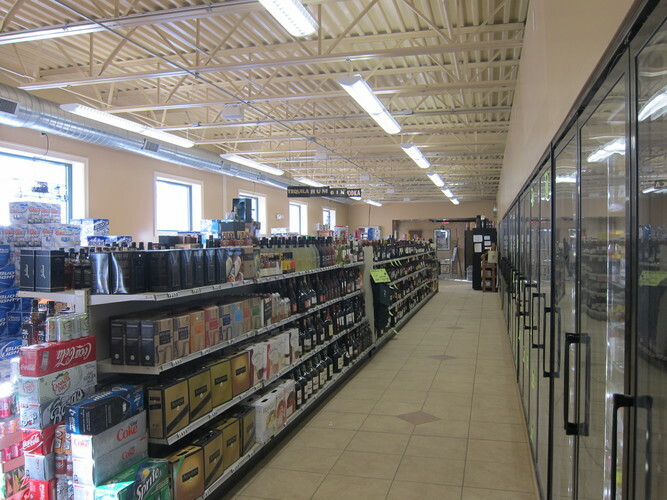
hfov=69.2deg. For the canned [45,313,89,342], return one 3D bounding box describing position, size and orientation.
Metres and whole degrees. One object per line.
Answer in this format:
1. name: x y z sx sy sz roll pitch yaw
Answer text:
1. canned: -1.770 0.517 3.235 0.257 0.140 0.122 -2 2 -36
